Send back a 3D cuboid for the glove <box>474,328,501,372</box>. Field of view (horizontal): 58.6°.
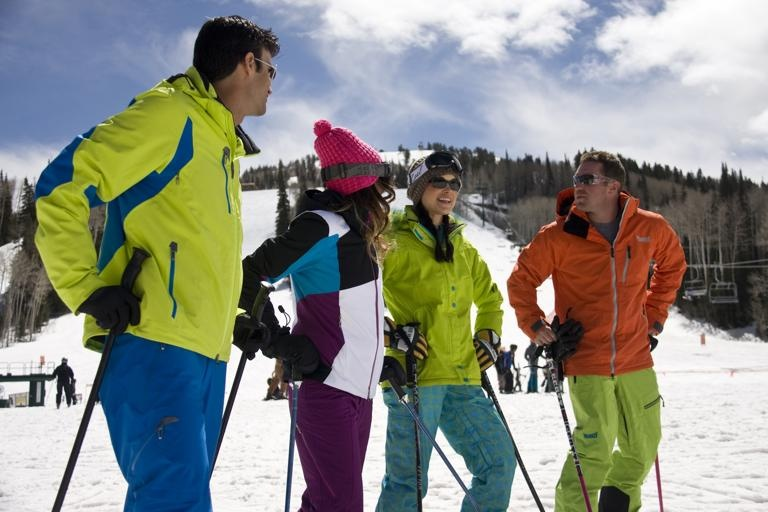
[{"bbox_3d":[0.966,0.855,6.425,0.193,0.166,0.484,-3,34,6],"label":"glove"}]

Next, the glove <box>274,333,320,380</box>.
[{"bbox_3d":[-0.650,0.765,5.243,0.394,0.229,0.292,41,-11,-16],"label":"glove"}]

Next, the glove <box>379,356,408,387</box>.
[{"bbox_3d":[0.090,0.984,5.832,0.234,0.282,0.215,-5,-6,36],"label":"glove"}]

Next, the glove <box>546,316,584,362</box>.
[{"bbox_3d":[1.738,0.798,6.575,0.290,0.442,0.196,-3,-7,33],"label":"glove"}]

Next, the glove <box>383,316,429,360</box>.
[{"bbox_3d":[0.193,0.732,6.113,0.421,0.304,0.200,12,12,7],"label":"glove"}]
